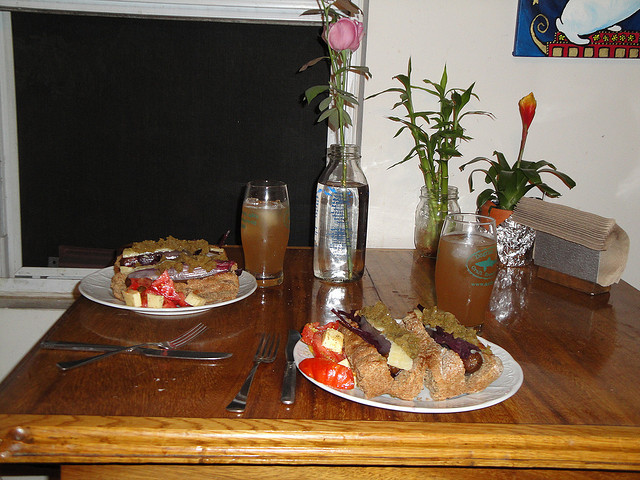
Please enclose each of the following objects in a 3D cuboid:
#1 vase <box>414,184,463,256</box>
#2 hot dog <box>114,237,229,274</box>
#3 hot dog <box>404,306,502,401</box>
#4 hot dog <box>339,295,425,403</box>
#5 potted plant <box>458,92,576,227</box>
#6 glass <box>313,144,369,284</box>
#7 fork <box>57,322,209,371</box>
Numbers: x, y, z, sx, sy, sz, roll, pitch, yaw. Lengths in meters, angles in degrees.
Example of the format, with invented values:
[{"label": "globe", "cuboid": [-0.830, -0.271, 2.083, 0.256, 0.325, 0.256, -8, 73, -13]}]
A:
[{"label": "vase", "cuboid": [0.338, -0.055, 1.371, 0.129, 0.194, 0.126, -2, 16, -4]}, {"label": "hot dog", "cuboid": [-0.335, 0.027, 1.044, 0.139, 0.047, 0.107, -5, 9, -15]}, {"label": "hot dog", "cuboid": [0.202, 0.172, 0.760, 0.114, 0.058, 0.164, -3, 21, -17]}, {"label": "hot dog", "cuboid": [0.096, 0.168, 0.752, 0.117, 0.087, 0.164, 0, 18, -7]}, {"label": "potted plant", "cuboid": [0.537, -0.208, 1.323, 0.256, 0.326, 0.257, 1, 21, -15]}, {"label": "glass", "cuboid": [0.052, -0.067, 1.174, 0.177, 0.319, 0.178, -3, 16, -21]}, {"label": "fork", "cuboid": [-0.308, 0.179, 0.805, 0.239, 0.035, 0.031, -8, 5, -32]}]
